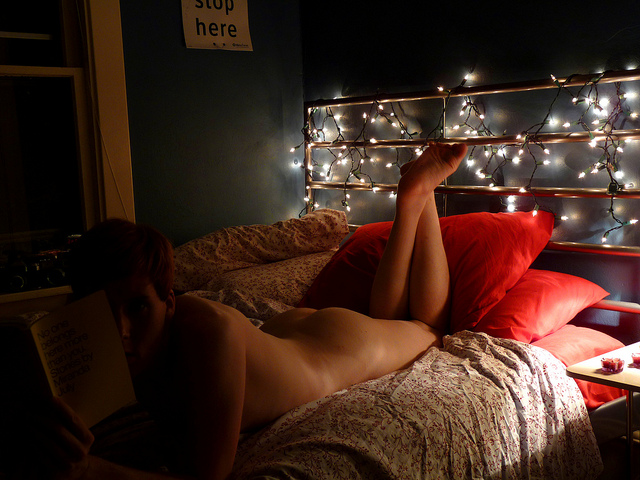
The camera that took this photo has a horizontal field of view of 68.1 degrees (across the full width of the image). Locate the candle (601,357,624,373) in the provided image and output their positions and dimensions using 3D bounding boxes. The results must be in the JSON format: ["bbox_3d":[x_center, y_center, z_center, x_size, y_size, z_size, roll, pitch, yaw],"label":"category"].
[{"bbox_3d":[0.952,0.400,1.537,0.040,0.027,0.054,-4,8,-10],"label":"candle"}]

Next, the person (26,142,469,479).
[{"bbox_3d":[-0.122,0.072,1.897,0.625,1.110,2.001,0,8,43],"label":"person"}]
